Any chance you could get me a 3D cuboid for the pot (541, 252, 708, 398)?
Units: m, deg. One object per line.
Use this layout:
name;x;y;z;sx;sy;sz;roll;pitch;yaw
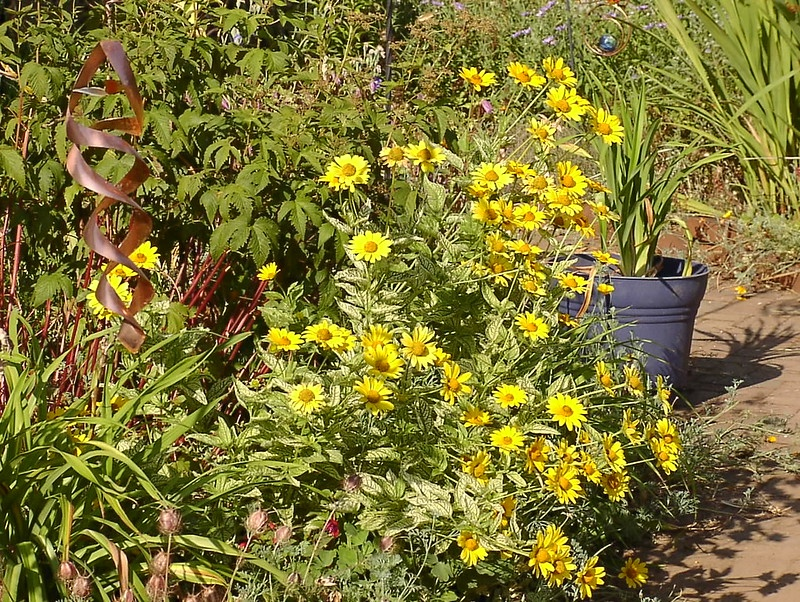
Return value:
pot;1.024;0.044;3.944;0.701;0.539;0.728;0;6;0
